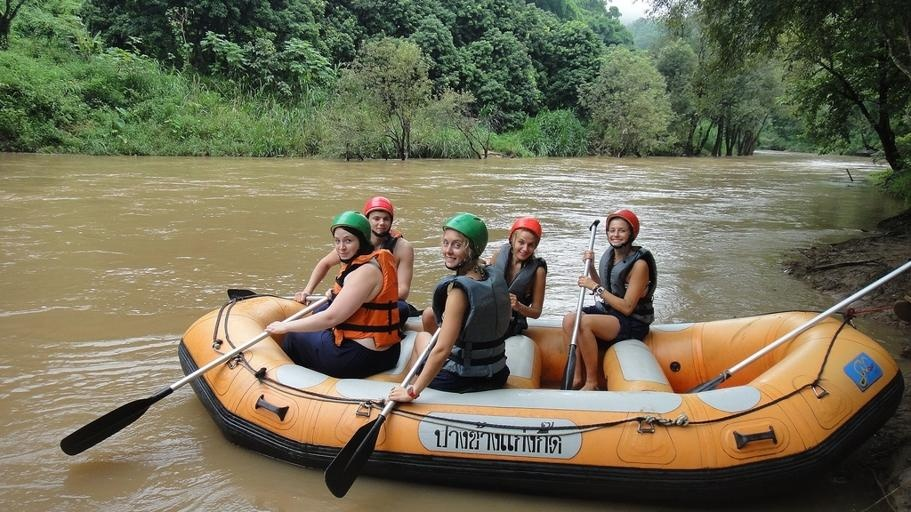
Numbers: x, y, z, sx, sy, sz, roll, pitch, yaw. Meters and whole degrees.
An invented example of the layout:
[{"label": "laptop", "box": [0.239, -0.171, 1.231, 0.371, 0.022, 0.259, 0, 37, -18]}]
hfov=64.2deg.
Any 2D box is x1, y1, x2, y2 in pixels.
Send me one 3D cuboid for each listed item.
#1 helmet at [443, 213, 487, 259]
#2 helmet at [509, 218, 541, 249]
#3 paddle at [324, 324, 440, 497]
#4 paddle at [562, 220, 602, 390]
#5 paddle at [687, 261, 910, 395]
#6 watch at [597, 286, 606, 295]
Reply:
[{"label": "helmet", "box": [0.150, -0.360, 9.890, 0.669, 0.501, 0.470, 13, 7, -34]}, {"label": "helmet", "box": [1.100, -0.429, 10.889, 0.428, 0.394, 0.532, 16, -20, 4]}, {"label": "paddle", "box": [-1.043, 2.190, 9.880, 0.323, 2.894, 0.257, 36, -27, 1]}, {"label": "paddle", "box": [2.032, 0.841, 11.644, 0.350, 2.940, 0.273, 16, -20, 10]}, {"label": "paddle", "box": [5.315, 1.142, 11.047, 3.632, 0.403, 0.168, -28, -51, 13]}, {"label": "watch", "box": [2.153, 0.515, 10.759, 0.105, 0.097, 0.035, -3, -24, 40]}]
